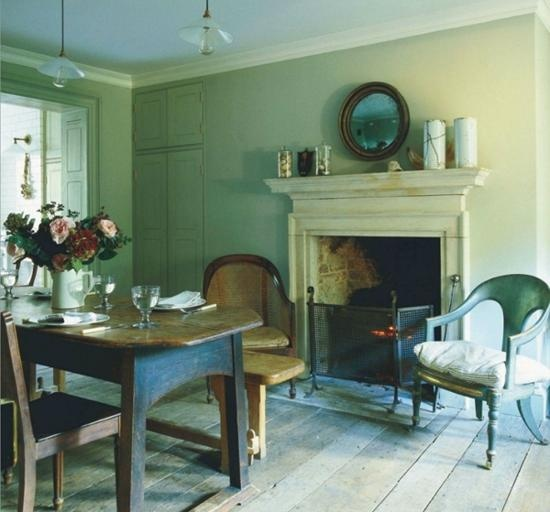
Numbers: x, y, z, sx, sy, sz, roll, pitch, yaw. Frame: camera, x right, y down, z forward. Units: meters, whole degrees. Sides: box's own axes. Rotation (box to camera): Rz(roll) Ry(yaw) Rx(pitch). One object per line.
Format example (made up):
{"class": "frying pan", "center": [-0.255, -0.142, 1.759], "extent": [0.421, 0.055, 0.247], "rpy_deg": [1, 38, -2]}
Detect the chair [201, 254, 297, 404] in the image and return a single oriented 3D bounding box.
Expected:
{"class": "chair", "center": [-0.262, 0.503, 4.311], "extent": [0.762, 0.907, 0.603], "rpy_deg": [0, 9, -19]}

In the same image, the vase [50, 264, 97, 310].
{"class": "vase", "center": [-1.036, 0.175, 2.936], "extent": [0.275, 0.236, 0.168], "rpy_deg": [4, -4, -36]}

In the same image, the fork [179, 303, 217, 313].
{"class": "fork", "center": [-0.384, 0.252, 2.791], "extent": [0.049, 0.034, 0.323], "rpy_deg": [7, 1, 26]}

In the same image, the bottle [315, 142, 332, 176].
{"class": "bottle", "center": [0.325, -0.746, 4.239], "extent": [0.145, 0.276, 0.127], "rpy_deg": [-6, 12, -34]}

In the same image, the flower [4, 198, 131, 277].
{"class": "flower", "center": [-1.041, -0.082, 2.851], "extent": [0.477, 0.255, 0.489], "rpy_deg": [-2, 2, 29]}

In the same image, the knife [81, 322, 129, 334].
{"class": "knife", "center": [-0.709, 0.294, 2.356], "extent": [0.053, 0.029, 0.271], "rpy_deg": [13, 2, 21]}

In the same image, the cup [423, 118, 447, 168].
{"class": "cup", "center": [1.075, -0.730, 3.700], "extent": [0.163, 0.323, 0.138], "rpy_deg": [-1, 7, -4]}

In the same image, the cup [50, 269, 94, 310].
{"class": "cup", "center": [-0.987, 0.154, 2.826], "extent": [0.232, 0.206, 0.150], "rpy_deg": [8, 14, 38]}

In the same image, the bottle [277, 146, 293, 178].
{"class": "bottle", "center": [0.077, -0.722, 4.329], "extent": [0.105, 0.237, 0.126], "rpy_deg": [-1, 7, -5]}

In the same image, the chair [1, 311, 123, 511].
{"class": "chair", "center": [-0.951, 0.580, 2.339], "extent": [0.411, 0.794, 0.446], "rpy_deg": [6, 10, 42]}

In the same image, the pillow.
{"class": "pillow", "center": [1.176, 0.587, 3.114], "extent": [0.396, 0.103, 0.391], "rpy_deg": [1, 3, -33]}

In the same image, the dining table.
{"class": "dining table", "center": [-0.619, 0.477, 2.690], "extent": [1.520, 0.944, 0.974], "rpy_deg": [3, 4, 38]}

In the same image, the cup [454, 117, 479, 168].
{"class": "cup", "center": [1.210, -0.718, 3.575], "extent": [0.144, 0.314, 0.127], "rpy_deg": [3, 8, 22]}
